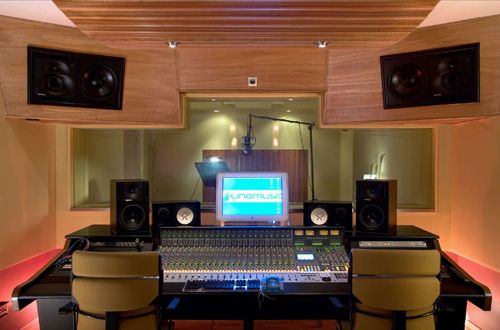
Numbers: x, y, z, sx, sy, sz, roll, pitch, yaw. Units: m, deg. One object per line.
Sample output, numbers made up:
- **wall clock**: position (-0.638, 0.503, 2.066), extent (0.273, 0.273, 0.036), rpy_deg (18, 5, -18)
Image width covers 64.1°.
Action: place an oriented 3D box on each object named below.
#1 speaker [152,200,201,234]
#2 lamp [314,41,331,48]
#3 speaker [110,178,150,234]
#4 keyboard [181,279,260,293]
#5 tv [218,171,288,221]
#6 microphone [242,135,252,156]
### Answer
- **speaker**: position (-0.747, 0.497, 4.026), extent (0.517, 0.331, 0.287), rpy_deg (0, -5, -4)
- **lamp**: position (0.690, -1.154, 3.835), extent (0.139, 0.042, 0.109), rpy_deg (-1, 0, -3)
- **speaker**: position (-1.194, 0.417, 3.960), extent (0.374, 0.535, 0.148), rpy_deg (-1, 0, -11)
- **keyboard**: position (-0.240, 1.044, 3.447), extent (0.667, 0.091, 0.113), rpy_deg (-1, 0, -2)
- **tv**: position (0.015, 0.215, 4.213), extent (0.839, 0.563, 0.475), rpy_deg (0, -8, 0)
- **microphone**: position (-0.043, -0.247, 5.060), extent (0.115, 0.231, 0.200), rpy_deg (-1, 0, 2)
